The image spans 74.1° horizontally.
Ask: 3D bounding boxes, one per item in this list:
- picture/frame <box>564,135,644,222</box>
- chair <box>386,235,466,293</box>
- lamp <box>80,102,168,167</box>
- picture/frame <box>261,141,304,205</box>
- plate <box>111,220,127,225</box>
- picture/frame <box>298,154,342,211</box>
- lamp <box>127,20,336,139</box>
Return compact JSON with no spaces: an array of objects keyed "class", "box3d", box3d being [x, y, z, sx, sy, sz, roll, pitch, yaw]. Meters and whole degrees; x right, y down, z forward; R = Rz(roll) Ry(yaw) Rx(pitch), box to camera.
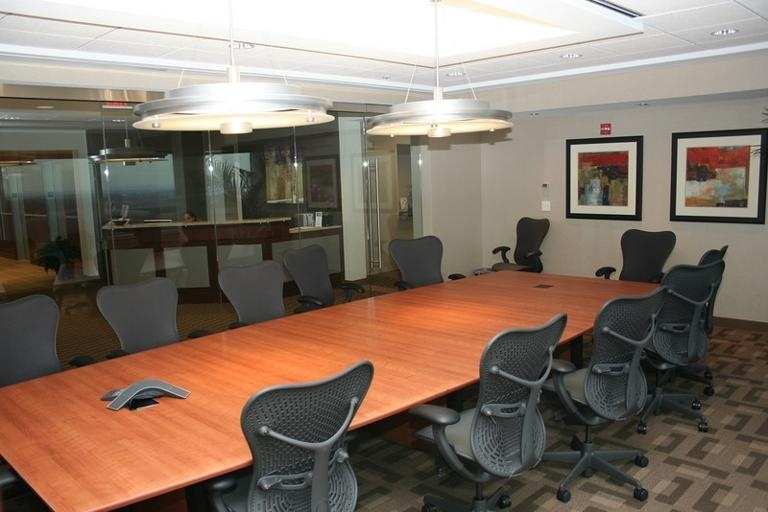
[{"class":"picture/frame","box3d":[3.603,-1.267,8.224,1.701,1.356,0.071,2,4,41]},{"class":"chair","box3d":[0.394,0.082,6.571,0.829,1.036,0.786,-9,5,-26]},{"class":"lamp","box3d":[-3.301,-1.502,6.399,0.756,0.543,0.706,6,14,21]},{"class":"picture/frame","box3d":[-1.509,-1.196,7.519,0.614,0.831,0.113,-12,15,-32]},{"class":"plate","box3d":[-3.330,-0.415,6.375,0.173,0.072,0.010,-13,15,-43]},{"class":"picture/frame","box3d":[-0.980,-1.115,7.864,0.647,0.782,0.098,-13,16,-37]},{"class":"lamp","box3d":[-1.008,-0.939,3.567,1.132,1.005,1.021,-2,8,-13]}]
